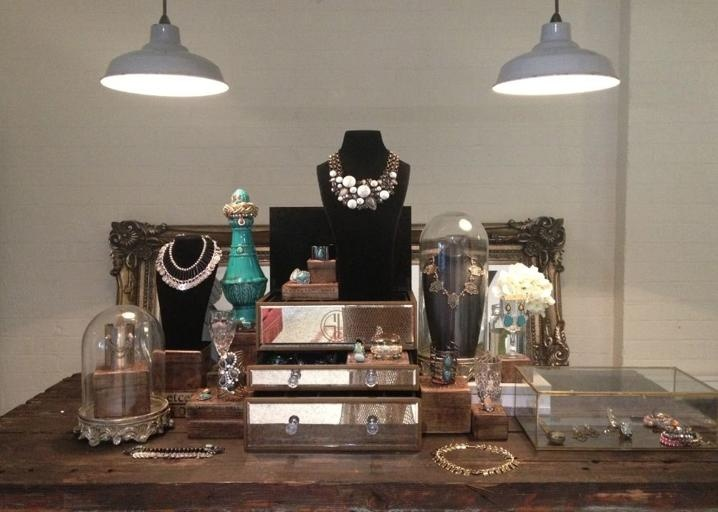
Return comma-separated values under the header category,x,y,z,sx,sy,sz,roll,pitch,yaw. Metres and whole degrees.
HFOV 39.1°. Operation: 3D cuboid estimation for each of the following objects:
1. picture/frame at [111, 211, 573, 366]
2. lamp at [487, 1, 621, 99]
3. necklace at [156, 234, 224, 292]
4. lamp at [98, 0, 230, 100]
category,x,y,z,sx,sy,sz,roll,pitch,yaw
picture/frame,-0.091,0.211,5.956,2.655,0.694,0.297,-1,-1,2
lamp,0.949,-0.973,5.011,0.496,0.508,0.513,-3,8,-27
necklace,-0.876,0.037,5.208,0.328,0.290,0.104,-1,-1,-2
lamp,-0.990,-0.969,5.077,0.552,0.534,0.503,-1,0,-23
